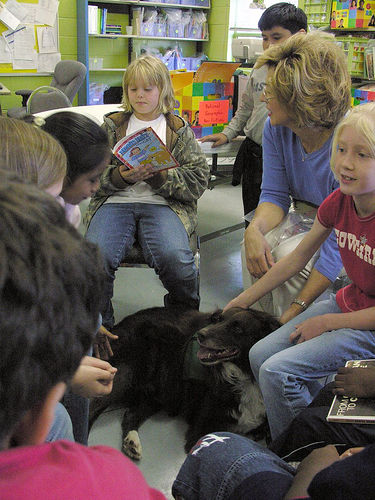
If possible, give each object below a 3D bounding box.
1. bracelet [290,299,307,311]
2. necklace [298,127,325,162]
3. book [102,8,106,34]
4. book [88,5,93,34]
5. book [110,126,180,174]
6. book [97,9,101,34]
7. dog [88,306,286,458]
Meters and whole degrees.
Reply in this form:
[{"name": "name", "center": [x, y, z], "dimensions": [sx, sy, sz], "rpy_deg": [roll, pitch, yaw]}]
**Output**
[{"name": "bracelet", "center": [0.487, 0.234, 1.633], "dimensions": [0.057, 0.053, 0.035], "rpy_deg": [8, 58, 33]}, {"name": "necklace", "center": [0.625, -0.530, 1.839], "dimensions": [0.010, 0.201, 0.047], "rpy_deg": [7, 36, -23]}, {"name": "book", "center": [-1.562, -4.284, 6.930], "dimensions": [0.066, 0.399, 0.101], "rpy_deg": [-7, 16, -33]}, {"name": "book", "center": [-1.762, -4.201, 6.757], "dimensions": [0.081, 0.437, 0.135], "rpy_deg": [-1, 14, -13]}, {"name": "book", "center": [-0.215, -0.536, 2.030], "dimensions": [0.270, 0.236, 0.308], "rpy_deg": [11, 16, 33]}, {"name": "book", "center": [-1.644, -4.267, 6.883], "dimensions": [0.049, 0.399, 0.071], "rpy_deg": [14, 18, 41]}, {"name": "dog", "center": [-0.021, 0.542, 1.827], "dimensions": [0.942, 0.568, 0.490], "rpy_deg": [5, 1, 13]}]
